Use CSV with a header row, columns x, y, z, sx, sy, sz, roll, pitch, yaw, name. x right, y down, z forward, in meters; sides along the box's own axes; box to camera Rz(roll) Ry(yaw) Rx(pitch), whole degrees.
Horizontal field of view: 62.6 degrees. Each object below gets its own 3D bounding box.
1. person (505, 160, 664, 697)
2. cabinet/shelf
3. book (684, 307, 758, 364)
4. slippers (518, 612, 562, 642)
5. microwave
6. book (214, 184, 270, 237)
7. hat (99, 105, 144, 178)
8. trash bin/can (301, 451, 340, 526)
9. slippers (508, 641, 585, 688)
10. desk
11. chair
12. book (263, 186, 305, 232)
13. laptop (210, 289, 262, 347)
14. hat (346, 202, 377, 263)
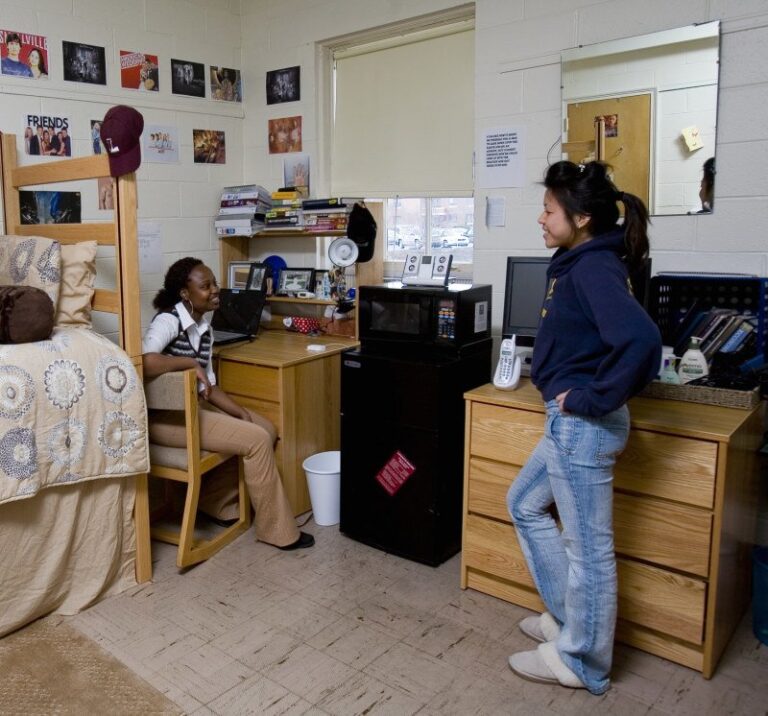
x,y,z,sx,sy,sz,roll,pitch,yaw,name
0.574,0.220,1.837,0.412,1.537,0.363,7,13,33,person
0.793,0.341,2.396,1.128,1.079,0.802,5,7,36,cabinet/shelf
1.159,-0.070,2.168,0.096,0.135,0.138,36,-5,-32,book
0.512,0.895,2.083,0.128,0.051,0.062,10,15,43,slippers
0.165,-0.192,2.725,0.515,0.259,0.323,8,13,33,microwave
-0.826,-0.852,3.798,0.312,0.315,0.314,0,0,21,book
-0.927,-0.768,2.244,0.136,0.257,0.139,-5,12,-24,hat
-0.273,0.601,2.986,0.287,0.300,0.290,-1,4,-6,trash bin/can
0.486,0.938,1.908,0.204,0.089,0.098,12,10,15,slippers
-0.619,0.261,3.416,1.026,0.983,0.686,5,8,40,desk
-0.790,0.419,2.614,0.396,0.819,0.451,-1,11,-6,chair
-0.559,-0.847,3.608,0.291,0.235,0.117,6,13,29,book
-0.796,-0.242,3.492,0.332,0.209,0.295,5,12,26,laptop
-0.118,-0.658,3.324,0.157,0.308,0.115,-2,11,-10,hat
